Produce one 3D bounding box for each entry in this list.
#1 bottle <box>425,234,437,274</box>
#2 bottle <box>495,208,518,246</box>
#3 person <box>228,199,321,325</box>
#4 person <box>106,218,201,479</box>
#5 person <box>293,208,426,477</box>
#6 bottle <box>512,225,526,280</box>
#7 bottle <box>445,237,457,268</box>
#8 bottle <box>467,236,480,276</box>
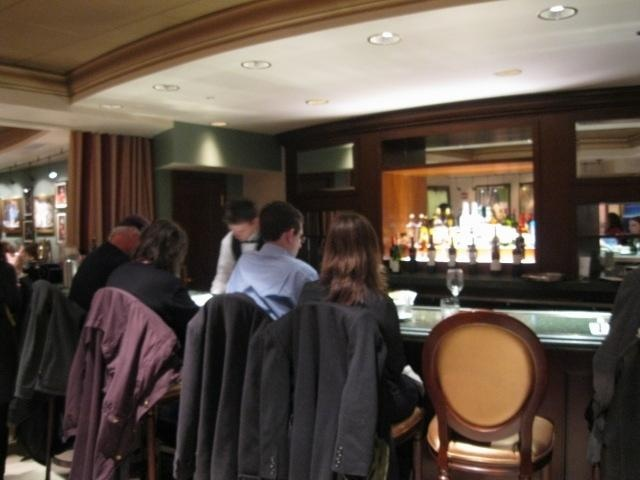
[{"bbox_3d":[1.149,0.128,5.645,0.088,0.378,0.205,0,2,-2],"label":"bottle"},{"bbox_3d":[1.804,-0.127,5.270,0.206,0.349,0.139,1,3,38],"label":"bottle"},{"bbox_3d":[-0.356,0.142,3.190,0.630,0.796,0.553,-2,-8,28],"label":"person"},{"bbox_3d":[-0.910,0.568,3.067,0.491,1.366,0.419,0,2,10],"label":"person"},{"bbox_3d":[0.204,0.381,2.599,0.596,1.014,0.429,0,2,4],"label":"person"},{"bbox_3d":[1.870,0.103,5.167,0.100,0.450,0.141,1,3,28],"label":"bottle"},{"bbox_3d":[1.332,0.131,5.518,0.076,0.281,0.125,-1,2,-10],"label":"bottle"},{"bbox_3d":[1.505,0.149,5.376,0.085,0.353,0.095,0,2,12],"label":"bottle"}]
